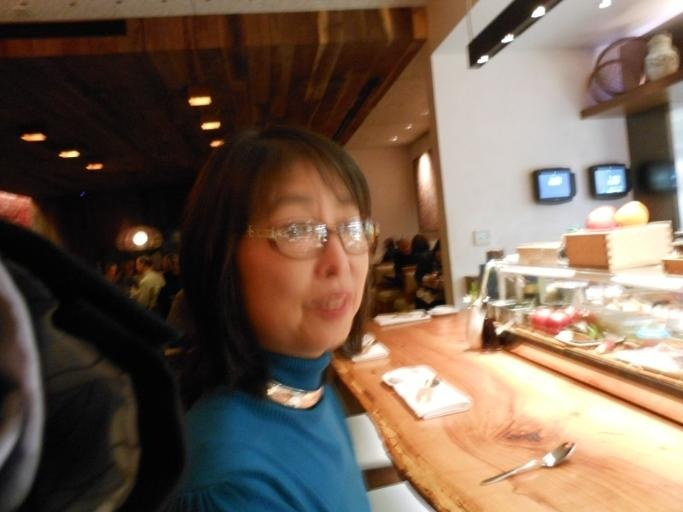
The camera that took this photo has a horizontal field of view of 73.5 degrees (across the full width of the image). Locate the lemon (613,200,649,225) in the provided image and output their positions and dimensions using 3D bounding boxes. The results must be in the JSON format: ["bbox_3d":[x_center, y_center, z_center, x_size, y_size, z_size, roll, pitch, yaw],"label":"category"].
[{"bbox_3d":[0.921,-0.131,1.447,0.091,0.072,0.207,-4,4,31],"label":"lemon"}]

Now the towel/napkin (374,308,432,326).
[{"bbox_3d":[0.325,0.333,2.441,0.188,0.026,0.113,-5,7,-14],"label":"towel/napkin"}]

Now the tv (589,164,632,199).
[{"bbox_3d":[2.067,-0.556,3.485,0.323,0.285,0.175,-4,-2,-7],"label":"tv"}]

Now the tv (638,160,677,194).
[{"bbox_3d":[2.324,-0.568,3.373,0.197,0.241,0.338,-5,5,-21],"label":"tv"}]

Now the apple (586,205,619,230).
[{"bbox_3d":[0.907,-0.121,1.590,0.079,0.057,0.104,-7,16,24],"label":"apple"}]

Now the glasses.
[{"bbox_3d":[-0.038,-0.025,0.724,0.211,0.065,0.065,-9,5,-39],"label":"glasses"}]

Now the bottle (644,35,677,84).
[{"bbox_3d":[2.007,-1.257,2.880,0.176,0.315,0.211,-3,5,44],"label":"bottle"}]

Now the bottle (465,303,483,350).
[{"bbox_3d":[0.500,0.274,1.788,0.075,0.162,0.087,6,-3,11],"label":"bottle"}]

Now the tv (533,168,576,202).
[{"bbox_3d":[1.571,-0.514,3.364,0.305,0.268,0.172,-2,-3,5],"label":"tv"}]
